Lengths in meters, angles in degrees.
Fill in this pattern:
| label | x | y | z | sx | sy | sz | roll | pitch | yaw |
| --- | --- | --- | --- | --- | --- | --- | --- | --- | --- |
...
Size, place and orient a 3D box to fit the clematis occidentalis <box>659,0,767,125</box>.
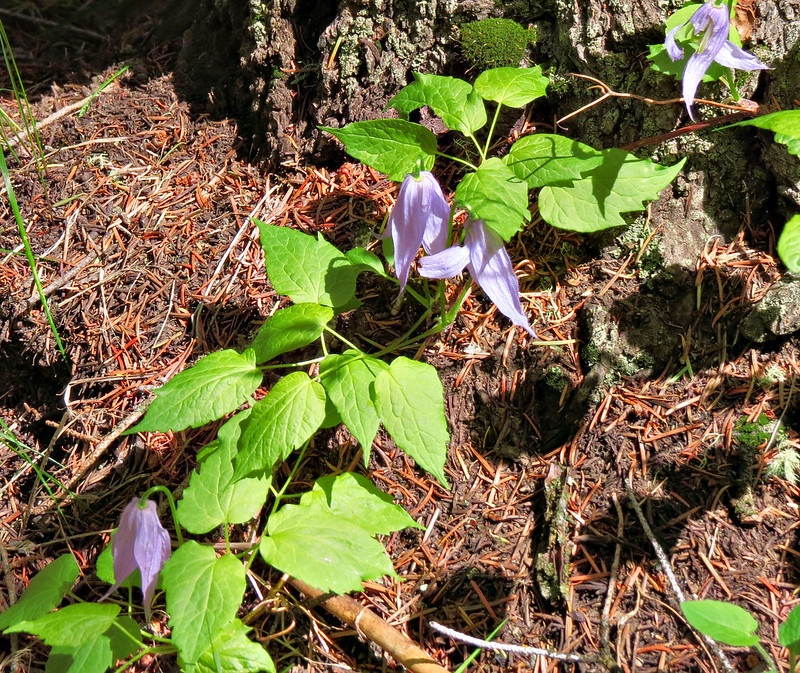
| label | x | y | z | sx | sy | sz | roll | pitch | yaw |
| --- | --- | --- | --- | --- | --- | --- | --- | --- | --- |
| clematis occidentalis | 1.200 | -1.056 | 2.967 | 0.350 | 0.456 | 0.459 | -9 | 32 | 0 |
